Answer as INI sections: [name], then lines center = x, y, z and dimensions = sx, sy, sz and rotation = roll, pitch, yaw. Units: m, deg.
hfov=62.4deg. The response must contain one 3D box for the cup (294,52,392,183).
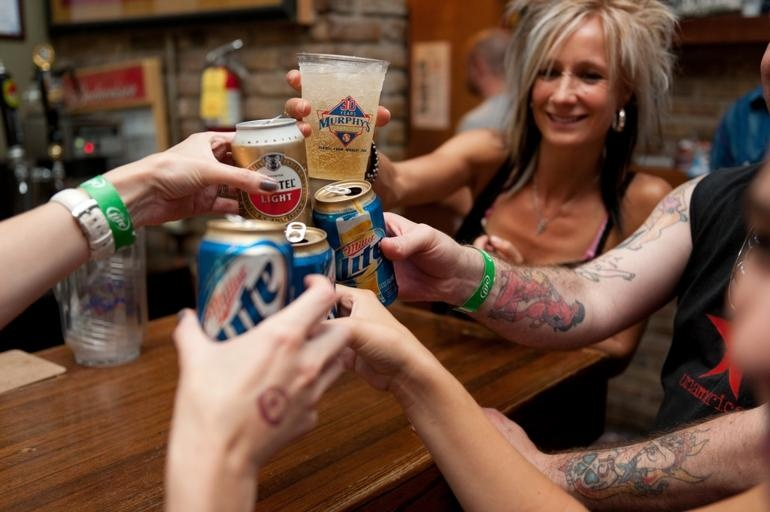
[cup]
center = -0.146, -0.370, 1.707
dimensions = 0.304, 0.345, 0.282
rotation = 6, 14, -2

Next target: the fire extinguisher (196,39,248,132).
[fire extinguisher]
center = -0.852, -0.860, 3.185
dimensions = 0.320, 0.422, 0.239
rotation = 8, 21, 29

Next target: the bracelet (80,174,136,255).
[bracelet]
center = -0.618, -0.095, 1.424
dimensions = 0.083, 0.131, 0.126
rotation = -33, 63, -31

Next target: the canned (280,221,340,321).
[canned]
center = -0.128, 0.013, 1.269
dimensions = 0.131, 0.218, 0.129
rotation = 2, 28, -4
